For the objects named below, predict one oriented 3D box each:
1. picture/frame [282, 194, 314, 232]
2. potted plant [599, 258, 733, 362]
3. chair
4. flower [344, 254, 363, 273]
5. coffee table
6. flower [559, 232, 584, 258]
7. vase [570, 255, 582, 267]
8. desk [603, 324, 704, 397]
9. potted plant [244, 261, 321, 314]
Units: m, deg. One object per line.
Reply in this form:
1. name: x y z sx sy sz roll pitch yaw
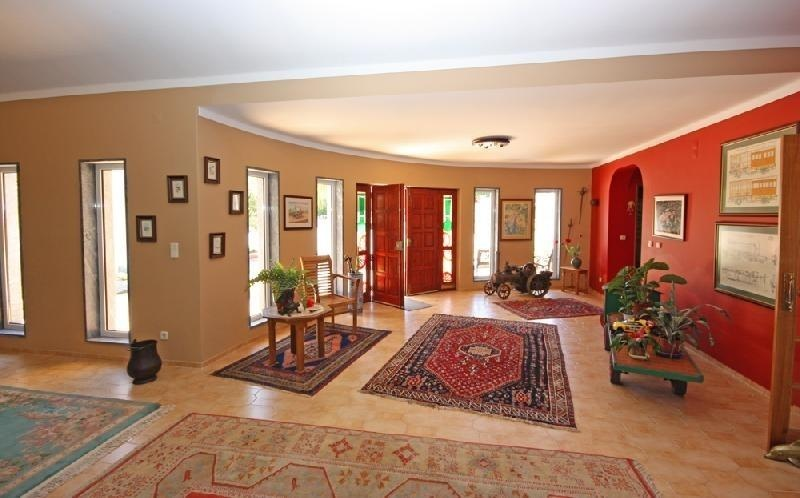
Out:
1. picture/frame: -1.747 -0.626 8.365 0.072 0.557 0.735 1 2 30
2. potted plant: 3.357 0.855 6.689 1.235 0.773 1.650 -5 12 2
3. chair: -1.204 0.644 8.316 1.127 1.553 1.228 -5 8 -33
4. flower: -0.913 0.282 9.571 0.283 0.350 0.132 7 -40 -27
5. coffee table: -1.535 1.225 7.023 0.925 0.689 0.898 5 10 23
6. flower: 3.808 -0.095 11.005 0.492 0.474 0.529 2 -3 42
7. vase: 3.824 0.269 10.695 0.258 0.252 0.241 -2 0 -3
8. desk: 3.092 1.435 6.041 0.709 0.315 1.272 2 10 22
9. potted plant: -1.523 0.535 6.990 0.854 0.532 0.854 8 12 36
